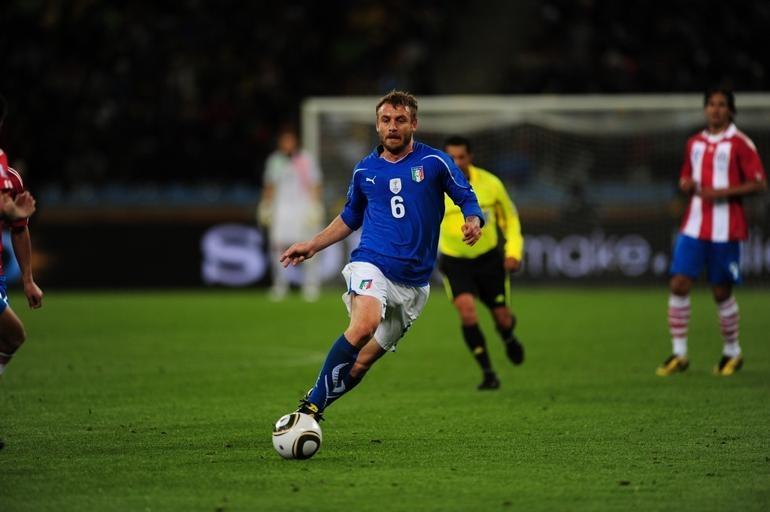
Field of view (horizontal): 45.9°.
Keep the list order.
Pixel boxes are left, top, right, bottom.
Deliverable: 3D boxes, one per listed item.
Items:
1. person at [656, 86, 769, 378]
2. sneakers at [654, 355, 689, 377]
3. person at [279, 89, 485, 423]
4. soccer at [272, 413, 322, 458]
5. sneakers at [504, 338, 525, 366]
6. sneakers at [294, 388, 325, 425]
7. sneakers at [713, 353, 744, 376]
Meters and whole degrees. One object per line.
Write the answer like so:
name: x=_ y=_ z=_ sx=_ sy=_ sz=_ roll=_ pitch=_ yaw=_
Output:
person: x=3.237 y=-0.217 z=8.974 sx=0.905 sy=2.842 sz=0.477 roll=1 pitch=5 yaw=17
sneakers: x=2.850 y=1.106 z=9.196 sx=0.445 sy=0.194 sz=0.148 roll=-8 pitch=3 yaw=-25
person: x=0.038 y=-0.024 z=6.966 sx=1.382 sy=2.415 sz=0.612 roll=0 pitch=5 yaw=-4
soccer: x=-0.654 y=1.359 z=6.771 sx=0.333 sy=0.340 sz=0.322 roll=8 pitch=-15 yaw=-7
sneakers: x=1.348 y=1.002 z=9.466 sx=0.144 sy=0.282 sz=0.269 roll=-22 pitch=-7 yaw=-3
sneakers: x=-0.582 y=1.116 z=6.975 sx=0.152 sy=0.206 sz=0.453 roll=8 pitch=24 yaw=-14
sneakers: x=3.534 y=1.097 z=9.271 sx=0.127 sy=0.167 sz=0.384 roll=-11 pitch=1 yaw=39
